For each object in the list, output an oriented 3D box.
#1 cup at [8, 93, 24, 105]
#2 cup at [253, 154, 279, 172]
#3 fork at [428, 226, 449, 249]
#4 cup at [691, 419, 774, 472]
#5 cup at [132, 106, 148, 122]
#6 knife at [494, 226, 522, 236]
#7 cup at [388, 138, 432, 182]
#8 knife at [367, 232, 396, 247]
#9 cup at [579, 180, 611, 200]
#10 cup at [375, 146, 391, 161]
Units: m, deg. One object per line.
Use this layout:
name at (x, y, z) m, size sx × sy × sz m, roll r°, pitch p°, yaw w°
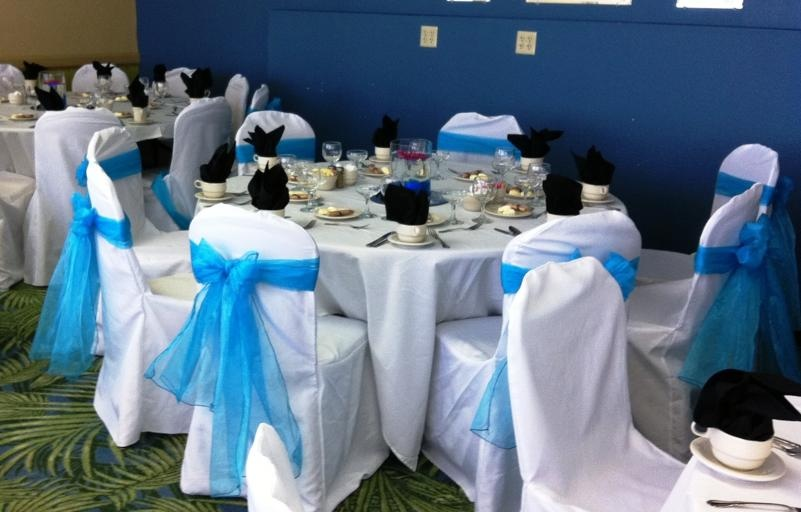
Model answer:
cup at (-3.388, -1.380, 5.246) m, size 0.118 × 0.121 × 0.121 m, roll 4°, pitch 7°, yaw 0°
cup at (-0.796, -0.564, 3.527) m, size 0.160 × 0.103 × 0.220 m, roll 0°, pitch 9°, yaw -1°
fork at (0.182, -0.089, 2.828) m, size 0.036 × 0.031 × 0.251 m, roll -28°, pitch 23°, yaw -1°
cup at (1.080, 0.618, 1.924) m, size 0.165 × 0.080 × 0.132 m, roll 6°, pitch 19°, yaw 29°
cup at (-2.151, -1.199, 4.930) m, size 0.117 × 0.132 × 0.118 m, roll 4°, pitch 31°, yaw -2°
knife at (0.544, -0.125, 2.968) m, size 0.198 × 0.047 × 0.033 m, roll 1°, pitch -15°, yaw -6°
cup at (0.059, -0.534, 3.261) m, size 0.240 × 0.279 × 0.256 m, roll 0°, pitch 19°, yaw 0°
knife at (-0.091, -0.092, 2.805) m, size 0.046 × 0.015 × 0.191 m, roll 12°, pitch 23°, yaw 19°
cup at (1.137, -0.380, 3.487) m, size 0.175 × 0.115 × 0.150 m, roll 5°, pitch 19°, yaw 14°
cup at (-0.108, -0.700, 4.041) m, size 0.126 × 0.099 × 0.119 m, roll 0°, pitch 23°, yaw 0°
